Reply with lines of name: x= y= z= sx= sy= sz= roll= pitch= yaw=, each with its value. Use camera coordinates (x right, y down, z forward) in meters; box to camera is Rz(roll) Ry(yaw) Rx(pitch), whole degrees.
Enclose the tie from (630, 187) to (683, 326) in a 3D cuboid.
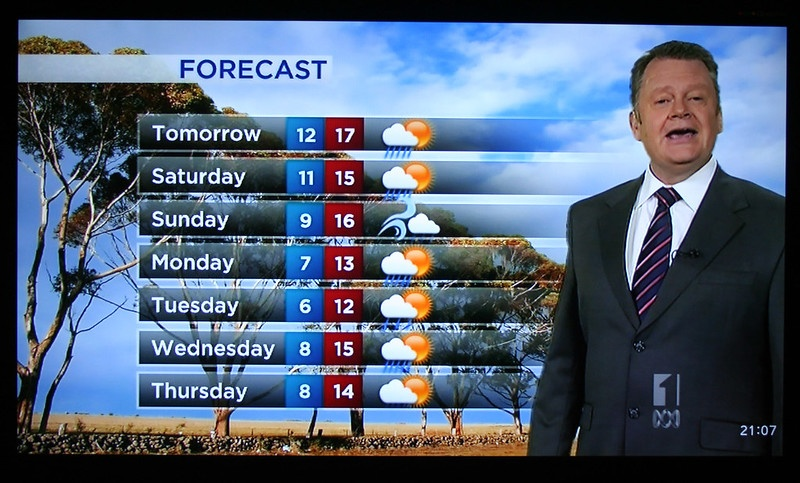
tie: x=1.544 y=0.088 z=5.752 sx=0.220 sy=0.920 sz=0.051 roll=13 pitch=-4 yaw=16
